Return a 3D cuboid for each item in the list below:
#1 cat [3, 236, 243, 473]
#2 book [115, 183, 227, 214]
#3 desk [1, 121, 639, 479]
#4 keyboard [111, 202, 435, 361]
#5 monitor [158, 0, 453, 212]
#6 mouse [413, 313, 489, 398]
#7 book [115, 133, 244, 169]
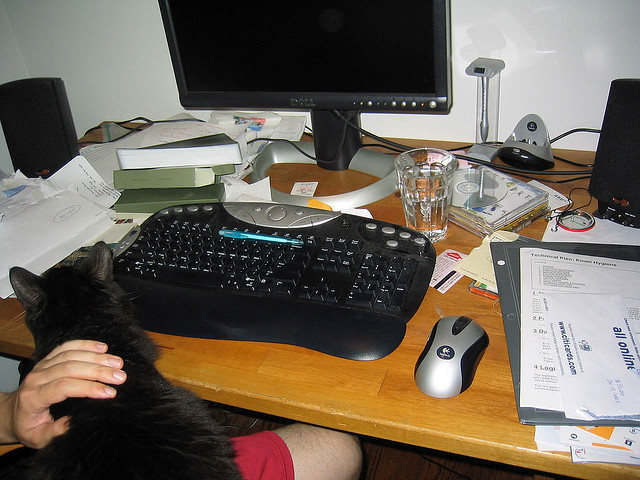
[{"bbox_3d":[-0.345,0.205,0.843,0.266,0.210,0.441,-21,56,-25],"label":"cat"},{"bbox_3d":[-0.331,-0.094,1.042,0.155,0.022,0.098,-3,28,3],"label":"book"},{"bbox_3d":[0.159,0.306,1.195,1.305,0.542,0.598,6,50,11],"label":"desk"},{"bbox_3d":[-0.101,0.047,0.848,0.583,0.070,0.270,7,50,17],"label":"keyboard"},{"bbox_3d":[-0.022,-0.285,1.020,0.644,0.518,0.228,3,47,12],"label":"monitor"},{"bbox_3d":[0.192,0.169,0.700,0.084,0.042,0.130,23,64,25],"label":"mouse"},{"bbox_3d":[-0.319,-0.216,1.124,0.278,0.050,0.188,-5,28,1],"label":"book"}]
